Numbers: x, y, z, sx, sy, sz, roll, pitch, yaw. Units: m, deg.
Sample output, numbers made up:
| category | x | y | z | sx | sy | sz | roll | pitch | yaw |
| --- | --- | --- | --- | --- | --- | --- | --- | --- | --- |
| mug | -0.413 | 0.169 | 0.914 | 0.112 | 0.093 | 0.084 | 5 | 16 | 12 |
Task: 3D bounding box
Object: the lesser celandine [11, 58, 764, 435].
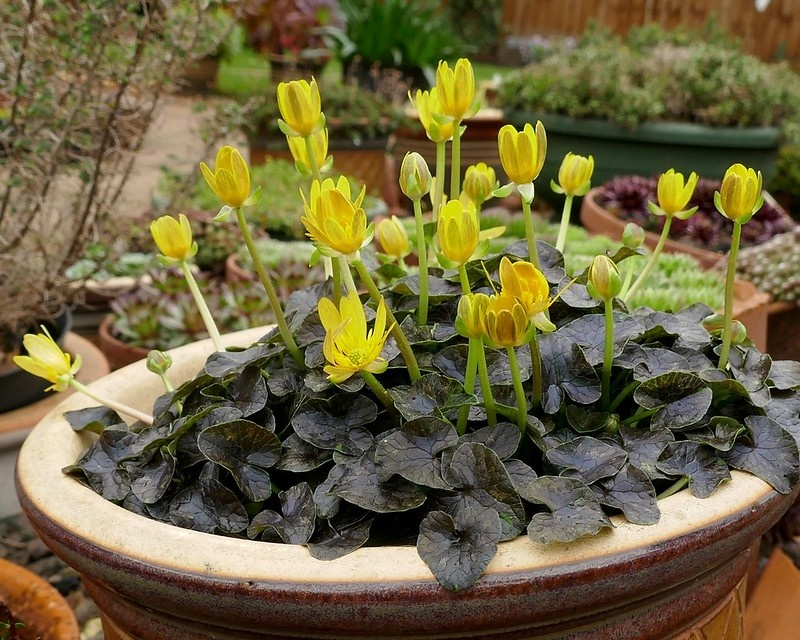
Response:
| category | x | y | z | sx | sy | sz | roll | pitch | yaw |
| --- | --- | --- | --- | --- | --- | --- | --- | --- | --- |
| lesser celandine | 0.028 | -0.097 | 0.820 | 0.548 | 0.255 | 0.691 | -7 | 16 | 36 |
